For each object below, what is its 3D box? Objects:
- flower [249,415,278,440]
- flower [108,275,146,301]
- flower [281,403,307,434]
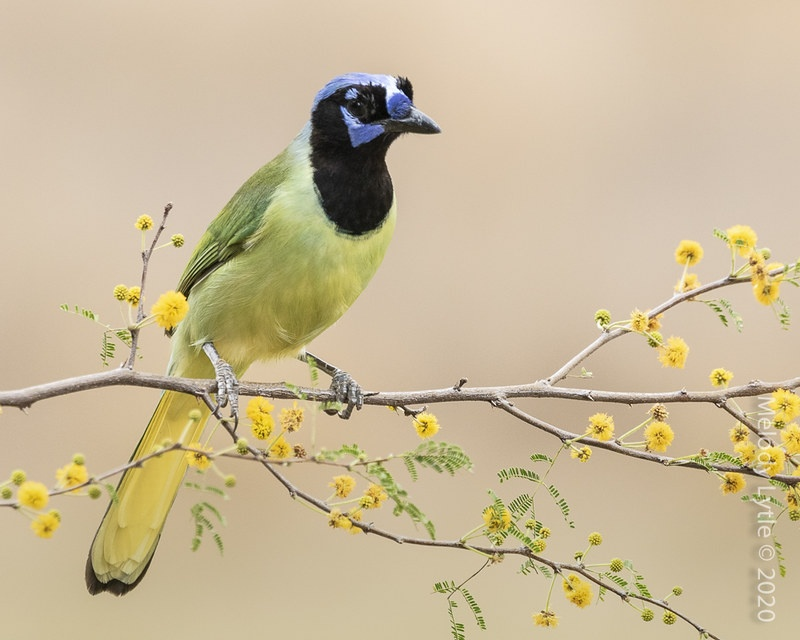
[{"bbox_3d":[-0.475,0.371,3.567,0.079,0.044,0.079,-17,-82,-16],"label":"flower"},{"bbox_3d":[-0.934,-0.092,3.548,0.090,0.071,0.067,22,-55,-14],"label":"flower"},{"bbox_3d":[-0.370,0.349,3.599,0.083,0.089,0.052,3,-31,13],"label":"flower"}]
